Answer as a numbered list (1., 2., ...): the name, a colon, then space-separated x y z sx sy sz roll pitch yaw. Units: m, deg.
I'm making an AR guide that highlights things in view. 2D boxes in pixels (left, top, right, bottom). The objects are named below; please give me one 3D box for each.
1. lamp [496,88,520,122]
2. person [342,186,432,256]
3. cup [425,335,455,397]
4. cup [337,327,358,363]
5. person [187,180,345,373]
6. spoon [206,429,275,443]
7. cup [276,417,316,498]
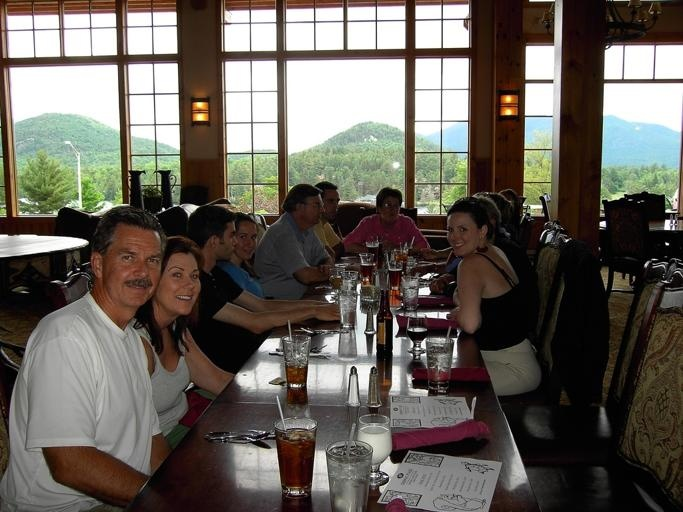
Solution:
1. lamp: 3.003 -2.769 8.985 0.440 0.834 0.557 1 6 17
2. person: 0.500 -0.382 5.575 0.979 0.802 0.594 2 8 9
3. cup: 0.358 0.393 1.818 0.109 0.186 0.112 4 0 0
4. cup: 0.028 0.394 2.169 0.094 0.147 0.094 1 -33 1
5. person: -0.612 0.160 3.198 1.222 1.314 0.604 -2 7 -13
6. spoon: -0.300 0.523 1.445 0.186 0.030 0.068 0 3 -1
7. cup: -0.111 0.497 1.222 0.146 0.164 0.152 -2 -13 0
